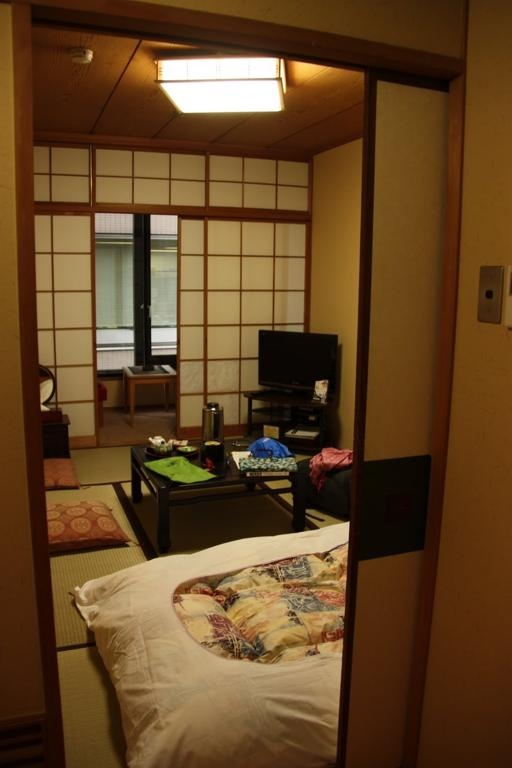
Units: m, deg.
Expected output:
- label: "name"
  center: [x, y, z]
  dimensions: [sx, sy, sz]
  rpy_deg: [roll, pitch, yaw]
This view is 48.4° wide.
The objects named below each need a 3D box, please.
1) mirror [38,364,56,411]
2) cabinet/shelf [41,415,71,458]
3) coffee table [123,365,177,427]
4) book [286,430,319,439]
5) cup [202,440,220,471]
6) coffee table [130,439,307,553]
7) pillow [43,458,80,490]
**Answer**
- label: "mirror"
  center: [-1.741, 0.043, 4.774]
  dimensions: [0.114, 0.370, 0.670]
  rpy_deg: [-2, 5, -19]
- label: "cabinet/shelf"
  center: [-1.599, 0.421, 4.561]
  dimensions: [0.188, 0.341, 0.236]
  rpy_deg: [-2, 5, -19]
- label: "coffee table"
  center: [-1.192, 0.125, 6.449]
  dimensions: [0.580, 0.475, 0.456]
  rpy_deg: [-2, 5, -23]
- label: "book"
  center: [0.427, 0.463, 5.195]
  dimensions: [0.312, 0.079, 0.171]
  rpy_deg: [0, 5, 4]
- label: "cup"
  center: [-0.272, 0.442, 3.553]
  dimensions: [0.126, 0.160, 0.135]
  rpy_deg: [1, -1, 0]
- label: "coffee table"
  center: [-0.377, 0.608, 3.550]
  dimensions: [0.645, 0.394, 0.694]
  rpy_deg: [-3, 9, -22]
- label: "pillow"
  center: [-1.434, 0.664, 4.211]
  dimensions: [0.236, 0.141, 0.509]
  rpy_deg: [-2, 5, -20]
